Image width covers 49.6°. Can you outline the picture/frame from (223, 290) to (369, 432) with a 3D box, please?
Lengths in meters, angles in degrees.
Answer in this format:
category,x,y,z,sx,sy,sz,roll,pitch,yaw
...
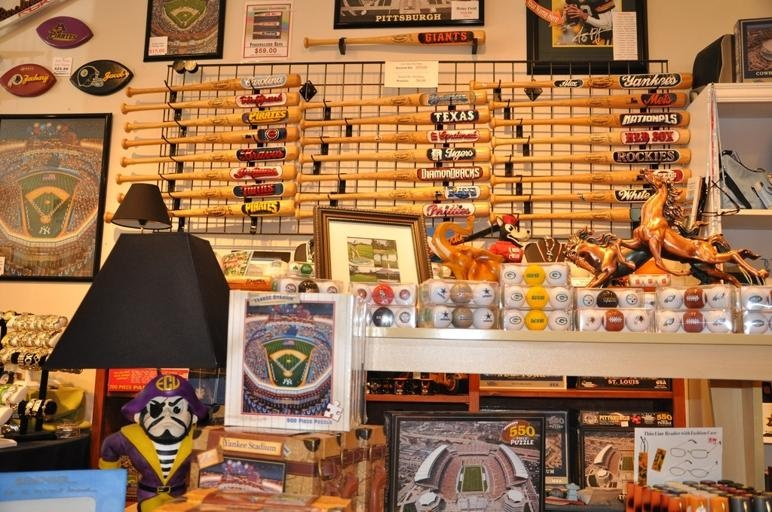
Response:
category,x,y,z,sx,sy,sz,roll,pitch,yaw
picture/frame,-0.352,0.400,3.237,0.511,0.524,0.232,-1,-3,13

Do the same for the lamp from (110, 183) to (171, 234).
category,x,y,z,sx,sy,sz,roll,pitch,yaw
lamp,-1.383,-0.250,4.785,0.341,0.294,0.326,6,-9,-17

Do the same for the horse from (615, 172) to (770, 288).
category,x,y,z,sx,sy,sz,roll,pitch,yaw
horse,1.301,-0.118,3.553,0.567,0.482,0.243,0,7,22

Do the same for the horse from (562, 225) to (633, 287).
category,x,y,z,sx,sy,sz,roll,pitch,yaw
horse,0.960,0.017,3.571,0.381,0.231,0.142,-1,-28,16

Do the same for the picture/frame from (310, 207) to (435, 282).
category,x,y,z,sx,sy,sz,roll,pitch,yaw
picture/frame,-0.060,-0.005,3.740,0.547,0.393,0.043,4,-17,-30
